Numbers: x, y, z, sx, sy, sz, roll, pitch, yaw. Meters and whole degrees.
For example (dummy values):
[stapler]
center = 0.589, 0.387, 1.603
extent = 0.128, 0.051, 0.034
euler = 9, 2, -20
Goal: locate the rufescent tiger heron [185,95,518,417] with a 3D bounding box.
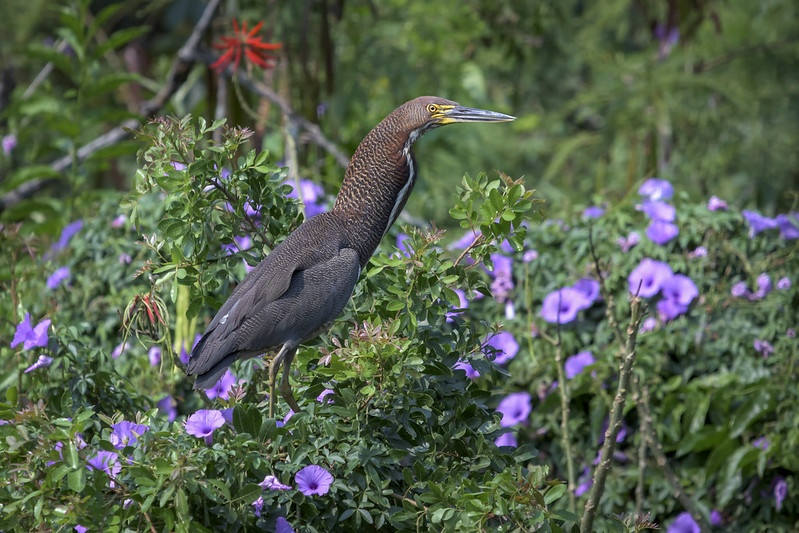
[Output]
[rufescent tiger heron]
center = -0.318, -0.107, 5.696
extent = 1.095, 1.418, 0.424
euler = -3, 21, -39
